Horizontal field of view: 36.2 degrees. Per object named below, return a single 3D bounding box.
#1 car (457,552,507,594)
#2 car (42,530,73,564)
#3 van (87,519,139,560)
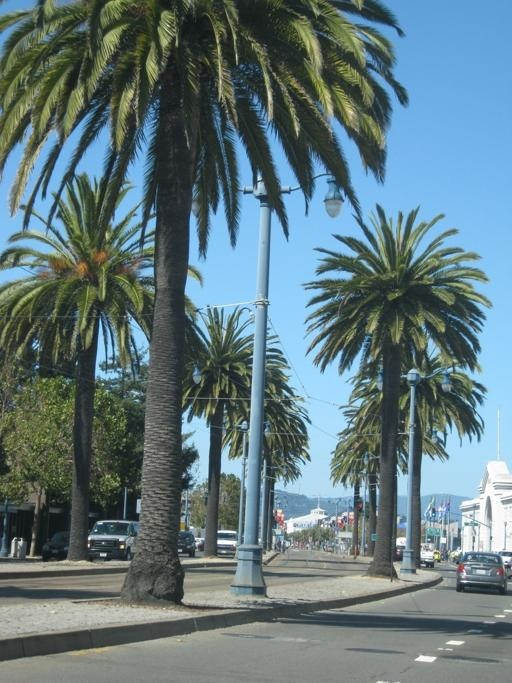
[{"bbox_3d":[7.662,7.846,26.595,1.642,1.305,1.104,3,-12,2],"label":"car"},{"bbox_3d":[-8.921,9.271,35.630,1.002,1.136,2.267,0,-16,-2],"label":"car"},{"bbox_3d":[-6.059,8.432,34.136,1.938,1.638,3.053,-1,-17,3],"label":"van"}]
